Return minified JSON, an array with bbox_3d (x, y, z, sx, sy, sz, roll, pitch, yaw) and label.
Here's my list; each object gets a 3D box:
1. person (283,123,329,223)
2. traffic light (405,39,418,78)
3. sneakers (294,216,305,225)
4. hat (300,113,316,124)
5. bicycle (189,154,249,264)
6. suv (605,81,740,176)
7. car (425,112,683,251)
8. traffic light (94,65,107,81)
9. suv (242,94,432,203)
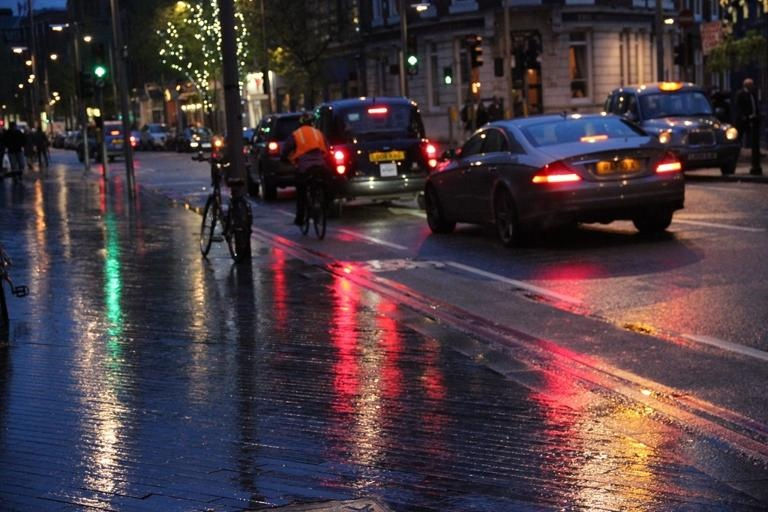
[{"bbox_3d":[-1.386,-1.526,15.514,0.734,1.966,0.807,-3,8,-9],"label":"person"},{"bbox_3d":[1.200,-8.837,38.217,0.455,1.638,1.343,-2,8,2],"label":"traffic light"},{"bbox_3d":[-1.590,-0.659,15.902,0.148,0.148,0.155,0,5,-19],"label":"sneakers"},{"bbox_3d":[-1.446,-2.493,15.811,0.236,0.206,0.695,-3,9,-7],"label":"hat"},{"bbox_3d":[-2.493,-0.657,13.708,0.803,1.137,1.836,-1,14,-19],"label":"bicycle"},{"bbox_3d":[7.608,-3.589,23.933,2.240,2.243,4.289,-2,7,-12],"label":"suv"},{"bbox_3d":[2.480,-1.222,13.525,1.989,1.886,3.789,-9,11,-40],"label":"car"},{"bbox_3d":[-9.867,-6.256,29.659,0.357,0.419,0.657,-5,9,-21],"label":"traffic light"},{"bbox_3d":[-0.921,-2.362,20.289,2.452,1.952,5.406,-3,11,-17],"label":"suv"}]
